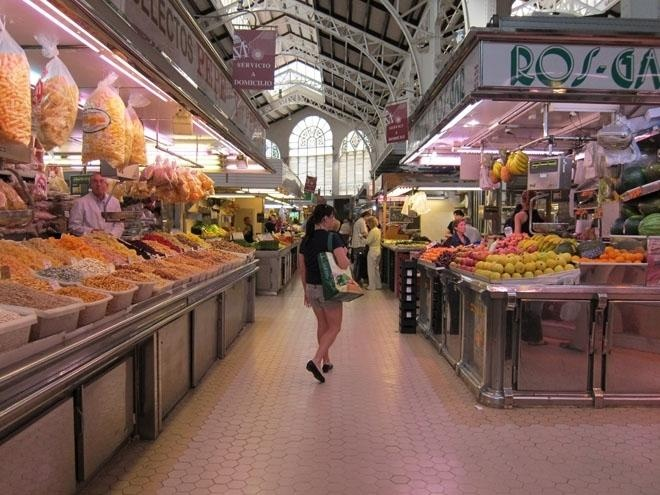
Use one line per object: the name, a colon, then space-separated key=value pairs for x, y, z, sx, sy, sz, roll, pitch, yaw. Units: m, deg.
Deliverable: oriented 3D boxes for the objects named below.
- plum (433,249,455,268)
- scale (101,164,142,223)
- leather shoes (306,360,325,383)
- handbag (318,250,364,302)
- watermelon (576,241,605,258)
plum: x=1.438 y=0.141 z=5.894 sx=0.193 sy=0.075 sz=0.226 roll=-38 pitch=16 yaw=18
scale: x=-2.066 y=-0.550 z=4.673 sx=0.361 sy=0.555 sz=0.362 roll=2 pitch=8 yaw=-16
leather shoes: x=-0.137 y=1.223 z=4.826 sx=0.171 sy=0.238 sz=0.352 roll=0 pitch=5 yaw=0
handbag: x=0.090 y=0.298 z=4.704 sx=0.402 sy=0.504 sz=0.256 roll=0 pitch=4 yaw=-2
watermelon: x=2.490 y=0.021 z=4.558 sx=0.186 sy=0.196 sz=0.178 roll=-7 pitch=-28 yaw=46
